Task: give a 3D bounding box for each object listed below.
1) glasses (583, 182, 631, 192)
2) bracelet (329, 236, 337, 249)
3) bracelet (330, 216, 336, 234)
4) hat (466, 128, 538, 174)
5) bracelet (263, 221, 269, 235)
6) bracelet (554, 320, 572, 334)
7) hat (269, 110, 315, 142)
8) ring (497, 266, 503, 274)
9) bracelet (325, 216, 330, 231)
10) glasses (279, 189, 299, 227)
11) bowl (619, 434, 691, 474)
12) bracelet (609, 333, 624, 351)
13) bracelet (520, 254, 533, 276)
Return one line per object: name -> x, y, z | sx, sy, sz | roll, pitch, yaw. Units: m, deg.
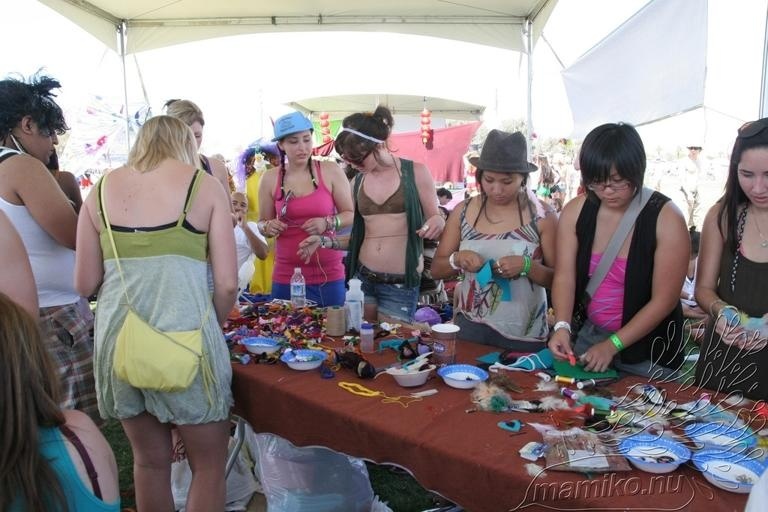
glasses -> 1.203, -0.374, 2.916 | 0.201, 0.054, 0.068 | 4, 8, 21
bracelet -> -0.354, -0.103, 3.923 | 0.049, 0.065, 0.068 | -5, -41, 9
bracelet -> -0.381, -0.237, 4.045 | 0.034, 0.081, 0.075 | 4, -14, -9
hat -> 0.767, -0.653, 3.459 | 0.503, 0.233, 0.620 | 7, 2, 6
bracelet -> -0.902, -0.212, 4.145 | 0.048, 0.099, 0.074 | 4, -3, -13
bracelet -> 0.984, 0.392, 3.002 | 0.067, 0.057, 0.089 | -1, -9, 3
hat -> -0.688, -0.979, 4.053 | 0.264, 0.133, 0.189 | -21, 6, 24
ring -> 0.680, 0.081, 3.195 | 0.009, 0.029, 0.028 | 2, -7, -44
bracelet -> -0.416, -0.239, 4.004 | 0.029, 0.070, 0.069 | 2, -9, -9
glasses -> -0.745, -0.385, 4.172 | 0.110, 0.226, 0.056 | 2, 9, 6
bowl -> 1.104, 0.808, 2.227 | 0.156, 0.042, 0.160 | -6, 17, 2
bracelet -> 1.209, 0.447, 2.875 | 0.074, 0.078, 0.077 | -33, -1, -1
bracelet -> 0.837, 0.057, 3.223 | 0.037, 0.095, 0.095 | 12, -19, -8
